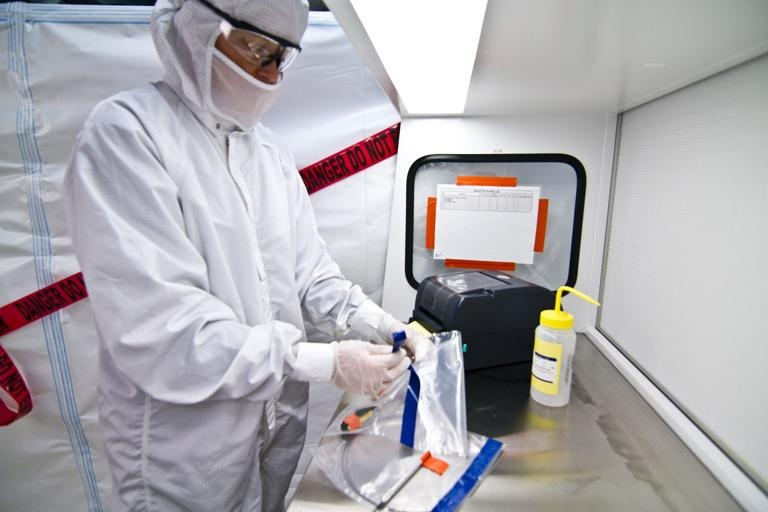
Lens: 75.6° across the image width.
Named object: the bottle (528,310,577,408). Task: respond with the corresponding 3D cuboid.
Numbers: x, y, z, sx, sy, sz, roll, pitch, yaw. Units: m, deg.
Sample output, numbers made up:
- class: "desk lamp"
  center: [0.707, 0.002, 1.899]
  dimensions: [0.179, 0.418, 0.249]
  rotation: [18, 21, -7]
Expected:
- class: "bottle"
  center: [0.534, 0.313, 1.554]
  dimensions: [0.136, 0.306, 0.126]
  rotation: [0, 9, 0]
